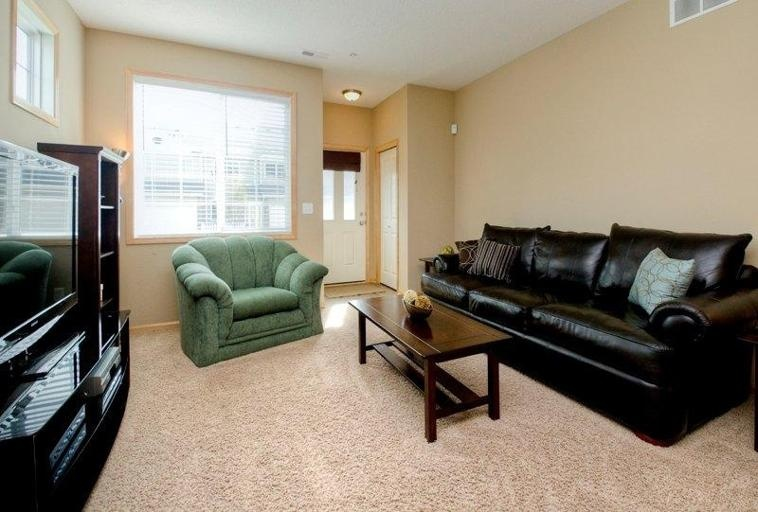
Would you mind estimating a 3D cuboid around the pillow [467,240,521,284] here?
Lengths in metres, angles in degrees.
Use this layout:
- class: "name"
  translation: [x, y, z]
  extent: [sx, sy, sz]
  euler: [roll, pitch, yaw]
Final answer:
- class: "pillow"
  translation: [1.108, 0.016, 5.199]
  extent: [0.549, 0.623, 0.154]
  euler: [14, 52, 15]

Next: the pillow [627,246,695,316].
- class: "pillow"
  translation: [2.166, 0.223, 3.998]
  extent: [0.278, 0.481, 0.530]
  euler: [-6, 18, -2]

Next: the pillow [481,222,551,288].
- class: "pillow"
  translation: [1.367, -0.002, 5.098]
  extent: [0.180, 0.606, 0.575]
  euler: [16, -8, -39]

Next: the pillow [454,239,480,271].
- class: "pillow"
  translation: [0.882, -0.017, 5.446]
  extent: [0.095, 0.306, 0.282]
  euler: [18, -18, -28]

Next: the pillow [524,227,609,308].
- class: "pillow"
  translation: [1.696, 0.127, 4.572]
  extent: [0.511, 0.596, 0.304]
  euler: [20, 2, 24]

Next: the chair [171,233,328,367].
- class: "chair"
  translation: [-1.306, 0.329, 4.927]
  extent: [1.368, 0.971, 1.016]
  euler: [-9, 17, -43]

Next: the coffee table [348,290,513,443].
- class: "coffee table"
  translation: [0.323, 0.816, 4.201]
  extent: [0.734, 0.675, 1.453]
  euler: [-6, 14, -23]
